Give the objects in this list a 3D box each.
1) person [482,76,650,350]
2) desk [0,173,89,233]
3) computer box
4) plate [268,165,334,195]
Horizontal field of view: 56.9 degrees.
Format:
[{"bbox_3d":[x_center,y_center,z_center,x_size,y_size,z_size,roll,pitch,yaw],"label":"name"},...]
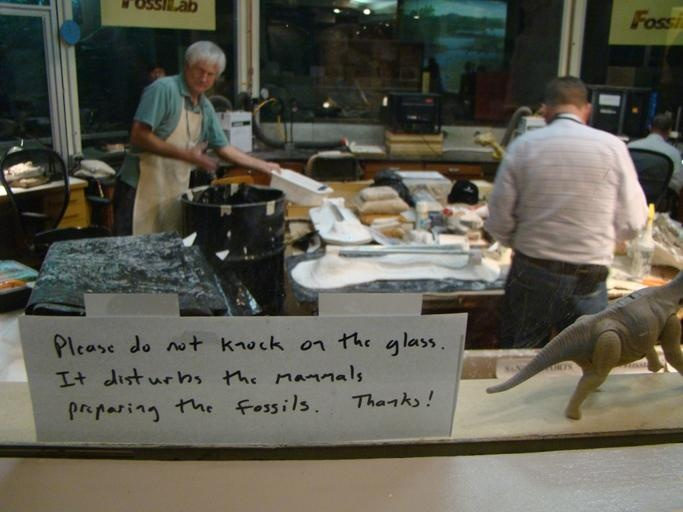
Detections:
[{"bbox_3d":[0.743,-0.149,1.975,0.506,0.517,0.860,4,18,6],"label":"person"},{"bbox_3d":[-1.745,-0.303,3.647,0.332,0.515,0.275,21,26,39],"label":"desk"},{"bbox_3d":[1.972,-1.023,4.442,0.264,0.340,0.456,-8,21,-31],"label":"computer box"},{"bbox_3d":[-0.185,-0.332,2.851,0.207,0.069,0.139,18,22,-13],"label":"plate"}]
